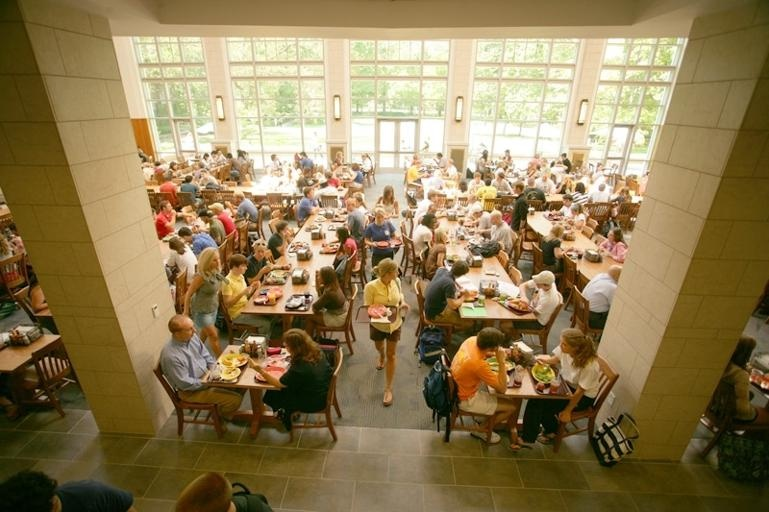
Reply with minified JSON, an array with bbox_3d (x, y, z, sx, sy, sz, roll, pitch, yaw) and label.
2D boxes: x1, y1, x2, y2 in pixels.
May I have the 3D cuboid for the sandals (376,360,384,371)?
[{"bbox_3d":[-0.071,1.753,7.696,0.083,0.119,0.168,6,32,-2],"label":"sandals"}]

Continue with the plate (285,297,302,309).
[{"bbox_3d":[-1.398,0.716,7.422,0.284,0.096,0.192,-6,22,-15],"label":"plate"}]

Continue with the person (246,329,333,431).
[{"bbox_3d":[-1.273,1.723,6.599,1.106,1.454,0.699,9,13,4],"label":"person"}]

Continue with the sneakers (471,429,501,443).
[{"bbox_3d":[1.429,2.531,6.756,0.403,0.157,0.170,5,32,20],"label":"sneakers"}]

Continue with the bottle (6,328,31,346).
[{"bbox_3d":[-5.193,1.095,6.772,0.296,0.086,0.278,3,24,-1],"label":"bottle"}]

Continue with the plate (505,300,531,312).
[{"bbox_3d":[2.085,0.759,7.464,0.246,0.152,0.367,-16,26,-34],"label":"plate"}]

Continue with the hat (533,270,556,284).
[{"bbox_3d":[2.492,0.349,7.432,0.293,0.155,0.187,18,42,2],"label":"hat"}]

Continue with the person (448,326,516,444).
[{"bbox_3d":[1.357,1.750,6.615,0.892,1.407,0.847,4,7,3],"label":"person"}]

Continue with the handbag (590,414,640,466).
[{"bbox_3d":[3.151,2.498,6.463,0.231,0.604,0.460,27,16,-47],"label":"handbag"}]

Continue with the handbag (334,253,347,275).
[{"bbox_3d":[-0.784,0.148,8.396,0.152,0.153,0.355,-13,-7,-17],"label":"handbag"}]

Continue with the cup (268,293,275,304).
[{"bbox_3d":[-1.762,0.661,7.467,0.126,0.123,0.122,-1,17,0],"label":"cup"}]

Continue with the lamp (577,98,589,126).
[{"bbox_3d":[6.840,-4.927,16.419,0.354,0.877,0.171,5,23,12],"label":"lamp"}]

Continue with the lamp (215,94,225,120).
[{"bbox_3d":[-5.962,-5.337,17.240,0.340,0.860,0.160,-5,23,-11],"label":"lamp"}]

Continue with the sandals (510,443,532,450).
[{"bbox_3d":[1.877,2.614,6.591,0.300,0.077,0.110,2,20,0],"label":"sandals"}]

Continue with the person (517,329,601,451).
[{"bbox_3d":[2.371,1.805,6.584,1.131,1.635,0.789,1,15,-3],"label":"person"}]

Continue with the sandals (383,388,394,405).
[{"bbox_3d":[0.053,2.100,7.159,0.102,0.098,0.245,1,31,9],"label":"sandals"}]

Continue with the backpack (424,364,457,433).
[{"bbox_3d":[0.776,1.952,6.526,0.413,1.130,0.698,-1,22,1],"label":"backpack"}]

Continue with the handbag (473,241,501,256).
[{"bbox_3d":[1.943,-0.144,9.039,0.368,0.148,0.310,5,15,4],"label":"handbag"}]

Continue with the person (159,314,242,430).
[{"bbox_3d":[-2.613,1.665,6.663,0.968,1.580,0.706,2,51,-7],"label":"person"}]

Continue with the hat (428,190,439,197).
[{"bbox_3d":[1.095,-1.424,10.857,0.128,0.167,0.166,45,16,31],"label":"hat"}]

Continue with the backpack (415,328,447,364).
[{"bbox_3d":[0.744,1.463,7.818,0.442,0.553,0.556,4,-3,6],"label":"backpack"}]

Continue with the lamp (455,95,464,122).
[{"bbox_3d":[2.628,-5.141,16.782,0.326,0.891,0.134,-1,23,-1],"label":"lamp"}]

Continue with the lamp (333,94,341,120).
[{"bbox_3d":[-1.692,-5.287,17.075,0.314,0.855,0.132,-2,23,-4],"label":"lamp"}]
